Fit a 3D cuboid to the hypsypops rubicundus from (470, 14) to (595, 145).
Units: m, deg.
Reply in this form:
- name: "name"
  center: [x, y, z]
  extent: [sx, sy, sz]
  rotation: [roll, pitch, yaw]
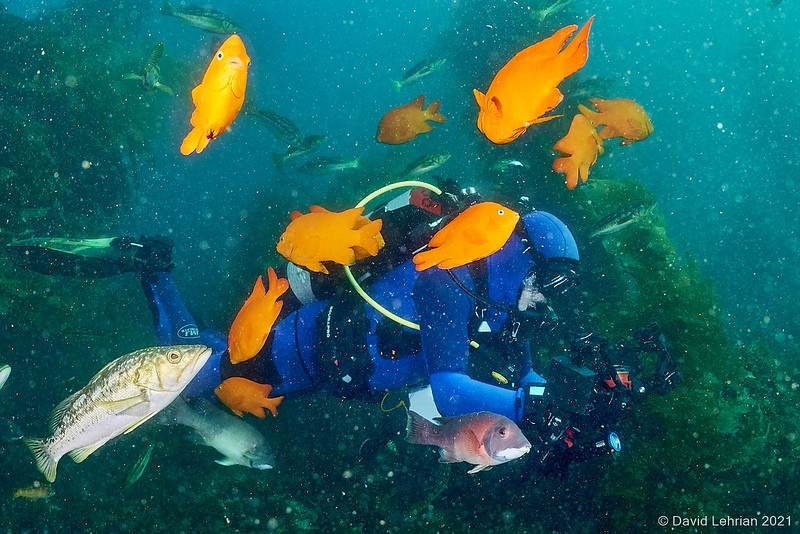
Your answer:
- name: "hypsypops rubicundus"
  center: [2.792, -3.915, 17.247]
  extent: [2.797, 1.013, 1.375]
  rotation: [-41, 84, -9]

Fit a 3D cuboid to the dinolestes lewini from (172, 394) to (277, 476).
- name: "dinolestes lewini"
  center: [-4.518, 4.176, 20.080]
  extent: [3.116, 0.660, 1.528]
  rotation: [29, 116, -11]

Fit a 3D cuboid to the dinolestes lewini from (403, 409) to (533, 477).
- name: "dinolestes lewini"
  center: [1.451, 4.131, 18.156]
  extent: [3.104, 2.137, 1.717]
  rotation: [2, 97, -16]

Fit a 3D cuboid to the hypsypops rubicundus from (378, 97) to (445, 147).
- name: "hypsypops rubicundus"
  center: [0.163, -3.493, 19.705]
  extent: [1.641, 1.187, 0.940]
  rotation: [-20, 81, -6]

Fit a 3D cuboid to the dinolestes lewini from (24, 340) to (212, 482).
- name: "dinolestes lewini"
  center: [-6.476, 3.145, 18.038]
  extent: [4.752, 1.768, 1.839]
  rotation: [-32, 85, 2]
